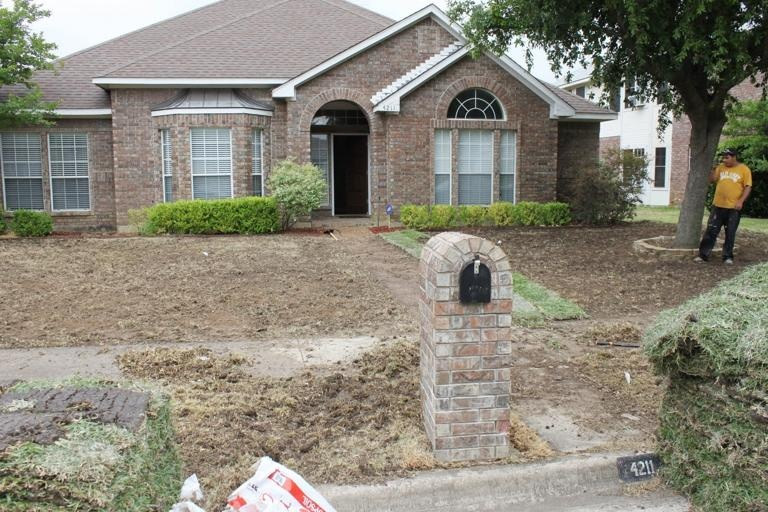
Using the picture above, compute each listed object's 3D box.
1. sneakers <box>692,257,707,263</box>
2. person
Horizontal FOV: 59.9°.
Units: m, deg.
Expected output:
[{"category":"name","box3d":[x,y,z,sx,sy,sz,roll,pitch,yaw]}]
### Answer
[{"category":"sneakers","box3d":[6.246,0.073,13.253,0.245,0.099,0.110,-2,11,-24]},{"category":"person","box3d":[6.701,-1.000,13.201,0.862,2.204,0.732,3,8,27]}]
